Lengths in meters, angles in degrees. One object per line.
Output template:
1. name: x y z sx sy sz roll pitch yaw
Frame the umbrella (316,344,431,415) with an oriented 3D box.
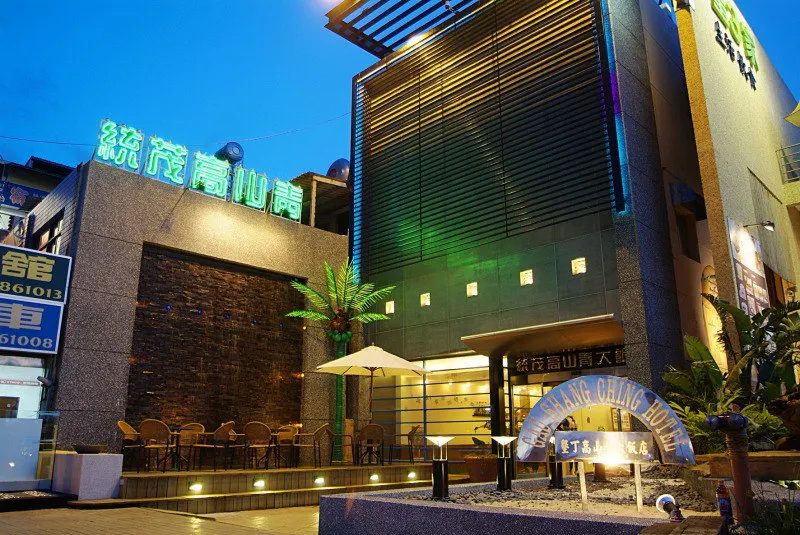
1. umbrella: -0.968 2.954 14.710 2.280 1.702 3.077 7 -21 -22
